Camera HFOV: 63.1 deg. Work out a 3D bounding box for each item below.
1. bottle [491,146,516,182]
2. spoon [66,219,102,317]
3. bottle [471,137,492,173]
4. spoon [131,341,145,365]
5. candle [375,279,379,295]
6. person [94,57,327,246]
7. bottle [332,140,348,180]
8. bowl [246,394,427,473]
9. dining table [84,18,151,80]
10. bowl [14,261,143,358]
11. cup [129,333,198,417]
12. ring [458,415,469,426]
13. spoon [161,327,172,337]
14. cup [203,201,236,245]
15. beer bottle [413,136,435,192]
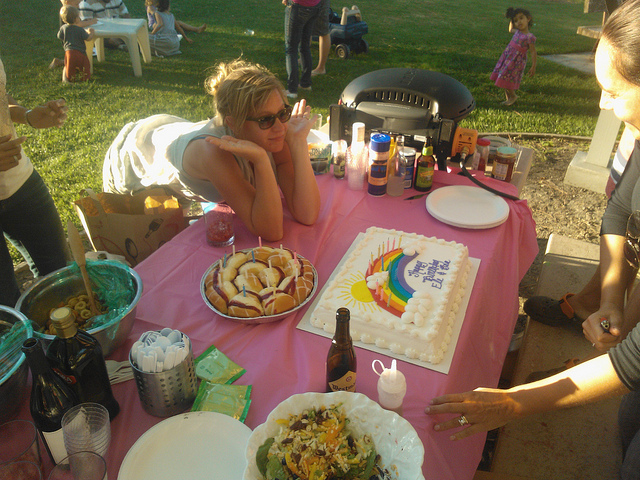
[{"bbox_3d":[1.309,-0.547,3.713,0.132,0.256,0.154,-13,40,-10],"label":"bottle"},{"bbox_3d":[-1.199,0.150,2.667,0.055,0.526,0.061,-9,3,28],"label":"spoon"},{"bbox_3d":[1.174,-0.611,3.826,0.105,0.271,0.132,4,34,4],"label":"bottle"},{"bbox_3d":[-0.787,0.478,2.245,0.052,0.045,0.090,13,37,12],"label":"spoon"},{"bbox_3d":[0.296,0.250,2.721,0.016,0.087,0.019,-8,38,0],"label":"candle"},{"bbox_3d":[-0.819,-0.602,3.789,1.624,1.255,1.218,8,20,21],"label":"person"},{"bbox_3d":[0.145,-0.555,3.705,0.095,0.315,0.123,5,32,11],"label":"bottle"},{"bbox_3d":[0.054,0.817,2.144,0.701,0.191,0.341,1,36,-6],"label":"bowl"},{"bbox_3d":[-3.305,-3.147,8.544,1.073,0.747,1.060,-22,42,-37],"label":"dining table"},{"bbox_3d":[-1.248,0.368,2.715,0.627,0.702,0.347,-10,79,-19],"label":"bowl"},{"bbox_3d":[-0.676,0.597,2.326,0.206,0.299,0.248,0,23,10],"label":"cup"},{"bbox_3d":[0.638,0.798,2.306,0.029,0.011,0.036,-14,69,-5],"label":"ring"},{"bbox_3d":[-0.685,0.412,2.332,0.033,0.043,0.009,-3,0,-3],"label":"spoon"},{"bbox_3d":[-0.605,-0.115,3.182,0.171,0.264,0.240,-9,24,-15],"label":"cup"},{"bbox_3d":[0.723,-0.497,3.579,0.132,0.302,0.145,2,32,-1],"label":"beer bottle"}]
